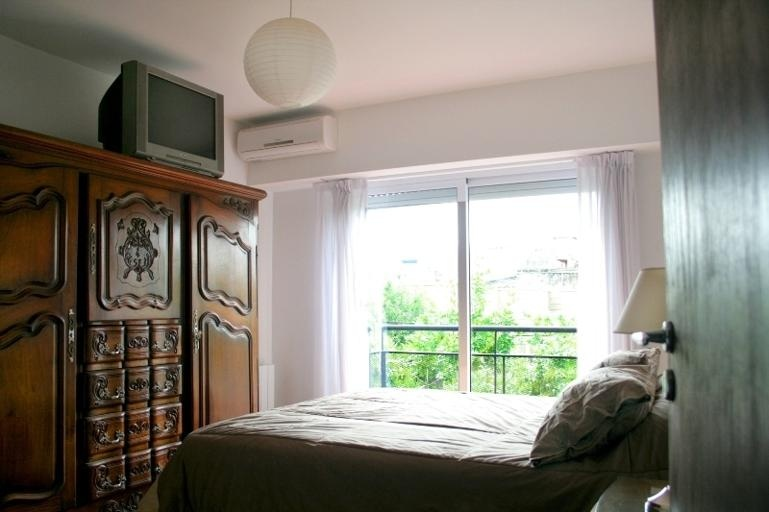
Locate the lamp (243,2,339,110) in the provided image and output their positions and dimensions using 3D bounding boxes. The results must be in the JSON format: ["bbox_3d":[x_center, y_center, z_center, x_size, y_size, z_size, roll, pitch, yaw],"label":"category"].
[{"bbox_3d":[-0.425,-0.874,2.546,0.405,0.340,0.242,-2,-4,-4],"label":"lamp"}]

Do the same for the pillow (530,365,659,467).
[{"bbox_3d":[0.819,0.639,2.209,0.445,0.322,0.320,-4,-5,24],"label":"pillow"}]
